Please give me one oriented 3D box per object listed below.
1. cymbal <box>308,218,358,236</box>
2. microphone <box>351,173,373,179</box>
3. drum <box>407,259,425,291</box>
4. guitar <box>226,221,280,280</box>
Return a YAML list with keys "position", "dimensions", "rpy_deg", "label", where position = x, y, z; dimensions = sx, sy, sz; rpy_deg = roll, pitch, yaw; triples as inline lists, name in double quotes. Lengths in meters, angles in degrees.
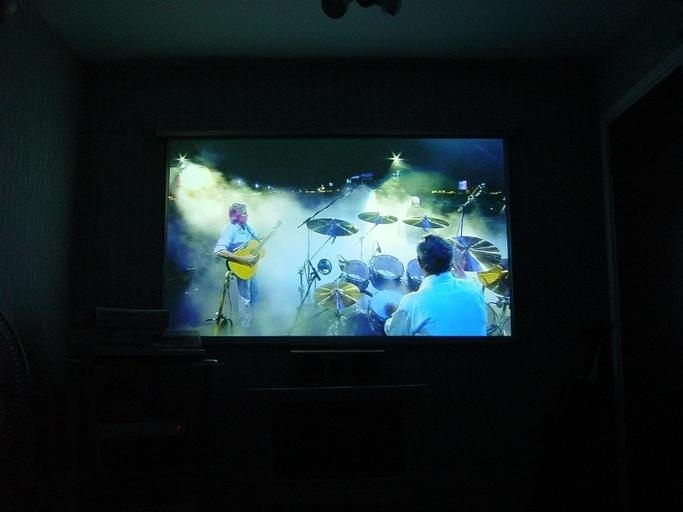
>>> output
- position: [-0.058, -0.189, 3.909]
  dimensions: [0.176, 0.040, 0.173]
  rpy_deg: [-10, 33, -33]
  label: "cymbal"
- position: [0.138, -0.526, 3.933]
  dimensions: [0.137, 0.046, 0.013]
  rpy_deg: [3, -3, -6]
  label: "microphone"
- position: [0.459, 0.119, 3.896]
  dimensions: [0.161, 0.166, 0.147]
  rpy_deg: [1, -3, 4]
  label: "drum"
- position: [-0.592, -0.027, 3.950]
  dimensions: [0.187, 0.447, 0.065]
  rpy_deg: [42, -14, -9]
  label: "guitar"
